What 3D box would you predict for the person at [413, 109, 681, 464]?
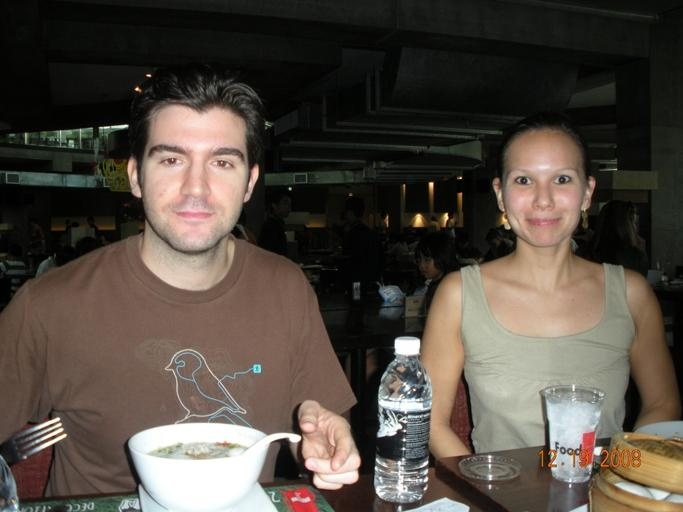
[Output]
[{"bbox_3d":[0.695,0.082,1.776,0.845,1.116,0.442,0,5,2],"label":"person"}]
